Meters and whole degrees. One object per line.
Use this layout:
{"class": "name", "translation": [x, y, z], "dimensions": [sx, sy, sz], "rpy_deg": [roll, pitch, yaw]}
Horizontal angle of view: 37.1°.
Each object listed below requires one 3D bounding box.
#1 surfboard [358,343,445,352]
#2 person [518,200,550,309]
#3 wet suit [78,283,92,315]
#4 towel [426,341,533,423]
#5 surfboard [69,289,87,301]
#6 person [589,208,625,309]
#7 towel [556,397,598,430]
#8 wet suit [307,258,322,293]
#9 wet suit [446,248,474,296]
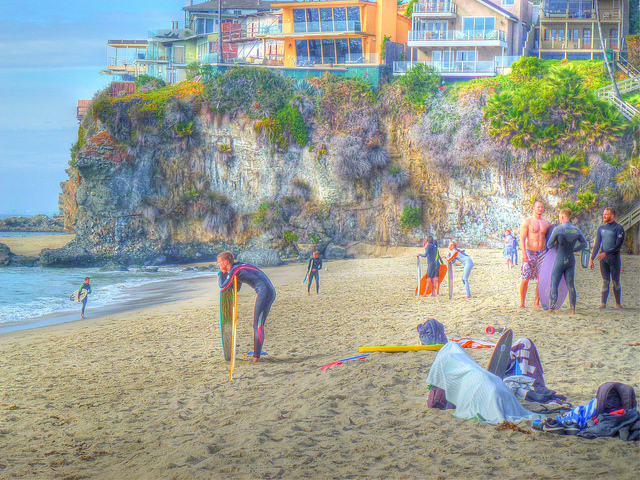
{"class": "surfboard", "translation": [3.046, 3.957, 34.985], "dimensions": [2.952, 0.428, 0.386], "rpy_deg": [0, 4, 2]}
{"class": "person", "translation": [8.375, 0.571, 37.606], "dimensions": [1.068, 4.037, 1.019], "rpy_deg": [1, 5, 6]}
{"class": "wet suit", "translation": [-10.696, 2.585, 43.313], "dimensions": [0.521, 1.346, 1.893], "rpy_deg": [-1, 8, -13]}
{"class": "towel", "translation": [5.265, 5.191, 32.641], "dimensions": [2.089, 1.371, 2.813], "rpy_deg": [-22, 43, -38]}
{"class": "surfboard", "translation": [-11.089, 2.568, 43.826], "dimensions": [0.531, 0.140, 0.606], "rpy_deg": [-26, 43, 24]}
{"class": "person", "translation": [11.125, 0.739, 37.199], "dimensions": [1.097, 3.991, 1.074], "rpy_deg": [1, 2, 28]}
{"class": "towel", "translation": [8.759, 6.018, 32.701], "dimensions": [0.612, 0.855, 1.839], "rpy_deg": [4, -12, -34]}
{"class": "wet suit", "translation": [-0.293, 1.574, 44.082], "dimensions": [0.574, 1.588, 1.203], "rpy_deg": [0, 7, -1]}
{"class": "wet suit", "translation": [6.032, 1.302, 40.760], "dimensions": [1.140, 2.472, 0.840], "rpy_deg": [-5, 12, 25]}
